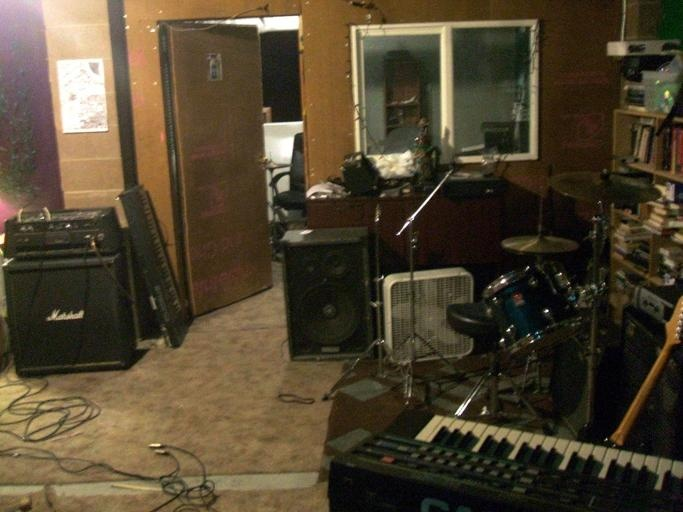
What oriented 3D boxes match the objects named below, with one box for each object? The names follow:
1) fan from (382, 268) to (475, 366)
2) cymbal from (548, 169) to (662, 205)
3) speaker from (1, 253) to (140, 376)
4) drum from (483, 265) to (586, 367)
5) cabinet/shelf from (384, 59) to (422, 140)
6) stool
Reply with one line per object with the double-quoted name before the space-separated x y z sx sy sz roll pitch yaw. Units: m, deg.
"fan" 0.616 0.426 4.456 0.808 0.693 0.266 -1 7 -11
"cymbal" 1.573 -0.445 3.751 0.548 0.107 0.534 9 -6 32
"speaker" -2.031 0.435 5.105 1.155 1.059 0.885 -2 4 -5
"drum" 1.153 0.326 3.654 0.548 0.416 0.513 -13 -23 -5
"cabinet/shelf" 0.542 -1.407 5.524 0.300 0.576 0.155 -3 19 -3
"stool" 1.031 0.676 4.154 0.720 0.655 0.645 1 2 4
